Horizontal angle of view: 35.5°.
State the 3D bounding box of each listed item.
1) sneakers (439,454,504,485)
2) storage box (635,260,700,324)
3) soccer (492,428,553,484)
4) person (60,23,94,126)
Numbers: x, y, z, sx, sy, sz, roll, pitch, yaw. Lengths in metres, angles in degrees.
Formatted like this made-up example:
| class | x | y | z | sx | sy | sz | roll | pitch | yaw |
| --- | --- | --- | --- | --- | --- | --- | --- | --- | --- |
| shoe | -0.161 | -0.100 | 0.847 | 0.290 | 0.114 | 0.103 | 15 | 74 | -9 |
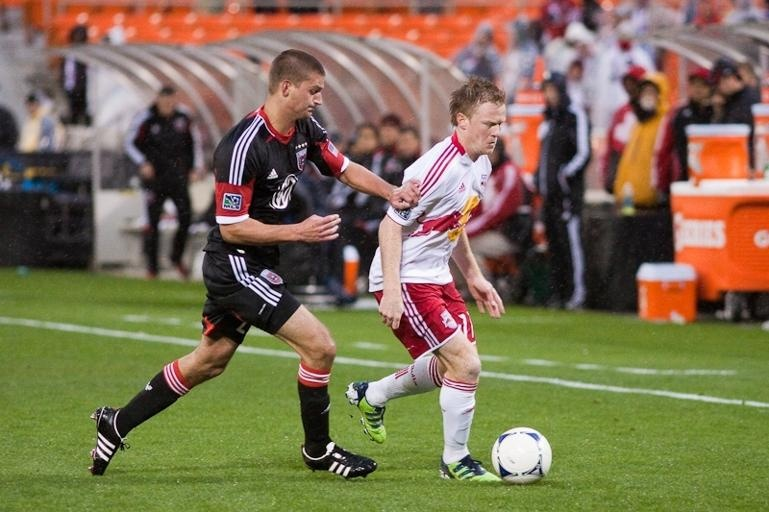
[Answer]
| class | x | y | z | sx | sy | sz | roll | pitch | yaw |
| --- | --- | --- | --- | --- | --- | --- | --- | --- | --- |
| sneakers | 0.638 | 1.582 | 8.889 | 0.472 | 0.198 | 0.182 | 1 | -3 | 6 |
| storage box | 2.710 | 0.368 | 11.757 | 0.808 | 0.590 | 0.814 | 0 | 1 | 29 |
| soccer | 1.114 | 1.458 | 8.940 | 0.540 | 0.417 | 0.523 | -10 | -11 | 36 |
| person | -2.973 | -1.735 | 11.585 | 0.277 | 0.968 | 0.489 | -4 | 11 | -13 |
